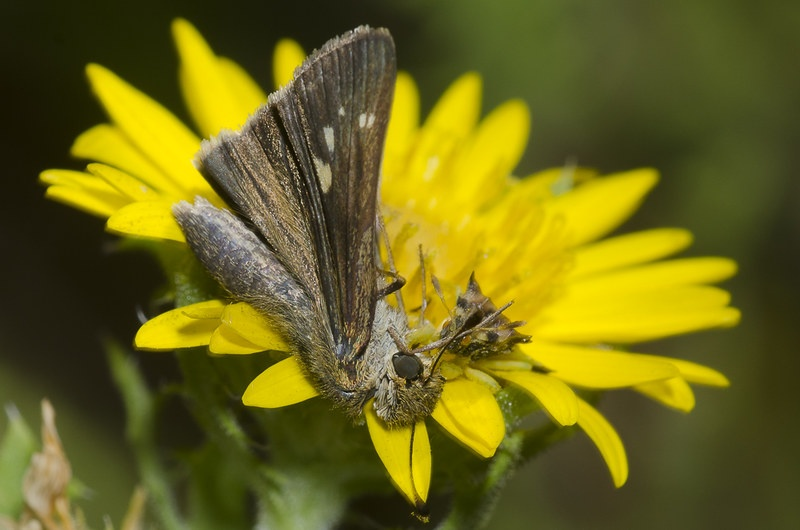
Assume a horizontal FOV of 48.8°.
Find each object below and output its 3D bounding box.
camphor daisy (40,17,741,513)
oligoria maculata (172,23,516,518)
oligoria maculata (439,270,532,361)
[{"bbox_3d":[0.081,0.115,1.167,0.690,0.304,0.726,9,59,-10],"label":"camphor daisy"},{"bbox_3d":[-0.060,-0.020,1.116,0.418,0.530,0.187,4,18,29],"label":"oligoria maculata"},{"bbox_3d":[0.108,0.068,1.099,0.120,0.113,0.092,-9,17,-12],"label":"oligoria maculata"}]
